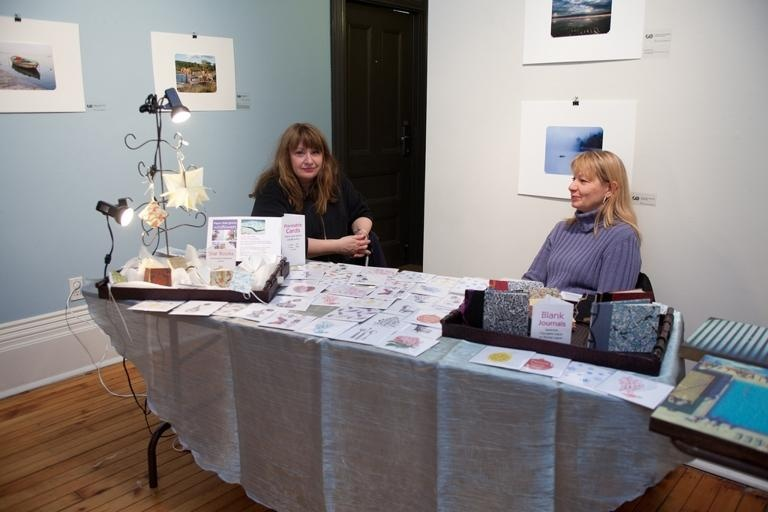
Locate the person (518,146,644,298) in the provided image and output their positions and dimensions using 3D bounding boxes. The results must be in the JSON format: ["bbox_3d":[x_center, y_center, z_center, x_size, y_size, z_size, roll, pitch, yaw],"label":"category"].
[{"bbox_3d":[1.128,-0.106,3.053,0.657,1.018,0.701,-8,11,-40],"label":"person"}]

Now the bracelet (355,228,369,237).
[{"bbox_3d":[-0.134,-0.149,3.392,0.066,0.044,0.067,-4,-22,-1],"label":"bracelet"}]

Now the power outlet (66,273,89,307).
[{"bbox_3d":[-1.997,0.213,3.369,0.164,0.229,0.088,-1,7,-17],"label":"power outlet"}]
